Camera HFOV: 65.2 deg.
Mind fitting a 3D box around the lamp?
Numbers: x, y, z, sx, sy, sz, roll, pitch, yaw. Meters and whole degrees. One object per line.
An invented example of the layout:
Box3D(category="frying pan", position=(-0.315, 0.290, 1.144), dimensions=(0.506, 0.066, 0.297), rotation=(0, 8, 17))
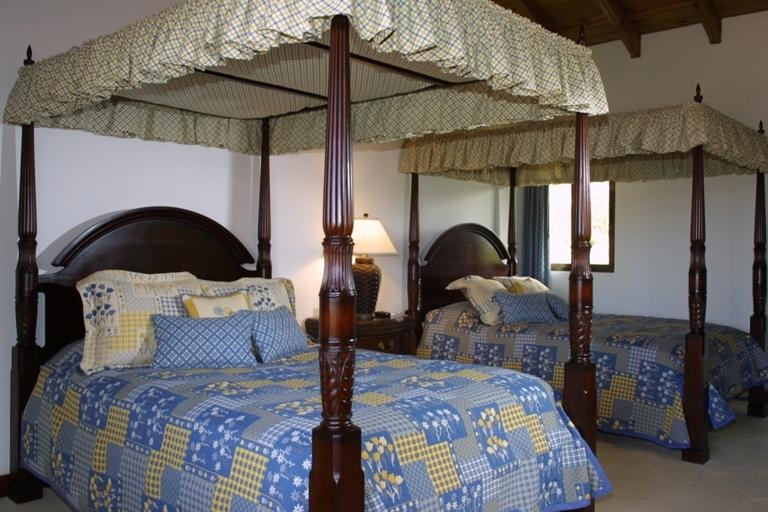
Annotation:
Box3D(category="lamp", position=(-0.191, 0.099, 5.865), dimensions=(0.591, 1.048, 0.615), rotation=(-1, -7, 17))

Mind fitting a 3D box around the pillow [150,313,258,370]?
Box3D(category="pillow", position=(-1.216, 0.573, 3.974), dimensions=(0.574, 0.382, 0.164), rotation=(-1, -18, -18))

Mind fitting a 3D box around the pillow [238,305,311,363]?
Box3D(category="pillow", position=(-0.791, 0.541, 4.291), dimensions=(0.145, 0.322, 0.508), rotation=(-24, -5, 15))

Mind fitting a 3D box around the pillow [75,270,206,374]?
Box3D(category="pillow", position=(-1.752, 0.425, 4.077), dimensions=(0.695, 0.714, 0.208), rotation=(1, -12, -33))
